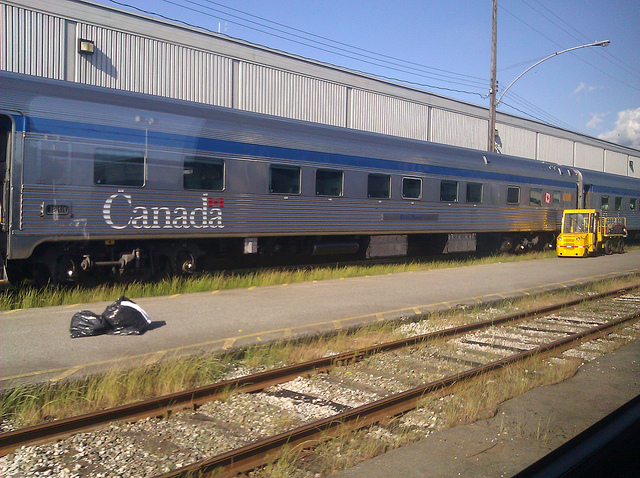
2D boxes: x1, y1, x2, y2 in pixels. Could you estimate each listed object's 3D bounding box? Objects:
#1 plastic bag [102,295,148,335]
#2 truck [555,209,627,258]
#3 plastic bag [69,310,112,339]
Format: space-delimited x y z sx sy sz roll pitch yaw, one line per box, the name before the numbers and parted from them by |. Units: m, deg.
plastic bag | -3.447 1.360 9.085 0.681 0.495 0.494 8 16 23
truck | 12.728 -0.194 24.624 4.265 1.941 2.028 1 -3 -41
plastic bag | -3.997 1.456 9.029 0.656 0.294 0.566 -5 16 -25
